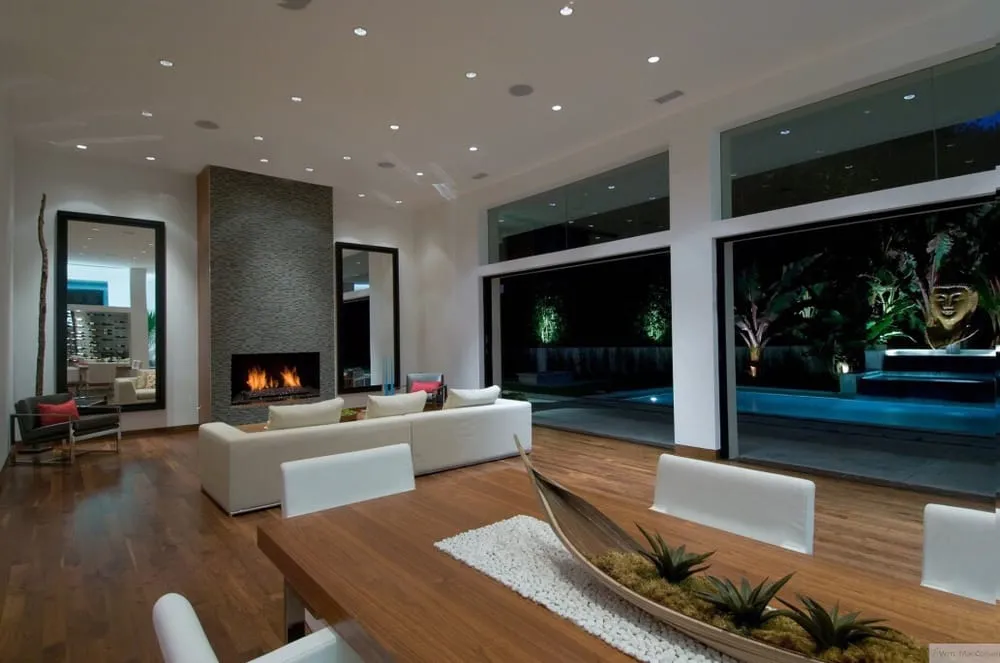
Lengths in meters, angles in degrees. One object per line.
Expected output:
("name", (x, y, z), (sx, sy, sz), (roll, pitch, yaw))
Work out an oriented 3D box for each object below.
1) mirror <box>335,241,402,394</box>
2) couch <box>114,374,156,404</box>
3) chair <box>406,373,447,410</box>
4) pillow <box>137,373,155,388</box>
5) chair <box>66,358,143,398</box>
("mirror", (-2.282, -0.248, 10.619), (1.260, 2.619, 0.747), (-6, 14, -20))
("couch", (-5.185, 0.824, 8.669), (0.349, 0.472, 0.673), (1, 0, 41))
("chair", (-1.096, 0.930, 9.343), (0.507, 0.714, 0.557), (-2, -9, 7))
("pillow", (-5.086, 0.706, 8.738), (0.212, 0.214, 0.092), (1, -2, -35))
("chair", (-5.497, 0.654, 8.479), (0.517, 0.520, 0.779), (0, 0, 42))
